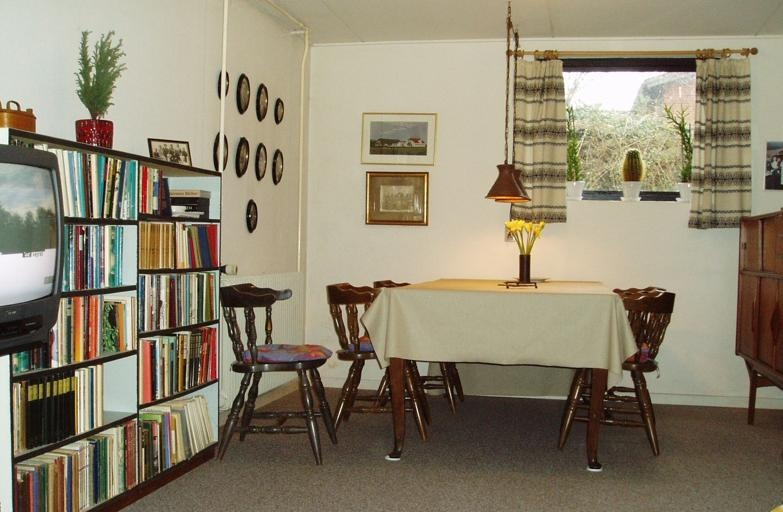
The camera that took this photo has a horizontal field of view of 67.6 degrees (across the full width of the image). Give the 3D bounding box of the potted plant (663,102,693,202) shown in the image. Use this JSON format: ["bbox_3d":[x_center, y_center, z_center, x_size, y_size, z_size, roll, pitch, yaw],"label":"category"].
[{"bbox_3d":[2.715,-0.956,5.440,0.231,0.899,0.405,0,7,-6],"label":"potted plant"}]

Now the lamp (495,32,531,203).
[{"bbox_3d":[1.064,-1.223,5.037,0.268,1.559,1.231,2,7,13],"label":"lamp"}]

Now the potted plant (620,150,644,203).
[{"bbox_3d":[2.247,-0.746,5.461,0.189,0.478,0.134,4,7,22],"label":"potted plant"}]

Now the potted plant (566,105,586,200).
[{"bbox_3d":[1.756,-0.981,5.576,0.196,0.898,0.280,3,7,16],"label":"potted plant"}]

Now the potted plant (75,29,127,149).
[{"bbox_3d":[-1.699,-0.998,3.423,0.280,0.769,0.663,-2,7,-25],"label":"potted plant"}]

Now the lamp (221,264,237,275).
[{"bbox_3d":[-1.263,0.117,4.584,0.104,0.096,0.205,0,6,-9],"label":"lamp"}]

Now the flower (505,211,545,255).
[{"bbox_3d":[1.111,-0.183,4.987,0.375,0.407,0.377,-2,-1,32],"label":"flower"}]

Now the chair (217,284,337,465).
[{"bbox_3d":[-0.863,0.772,4.552,0.991,1.525,1.139,1,1,6],"label":"chair"}]

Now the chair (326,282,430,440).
[{"bbox_3d":[-0.136,0.806,4.848,0.961,1.488,1.094,-1,-1,14],"label":"chair"}]
